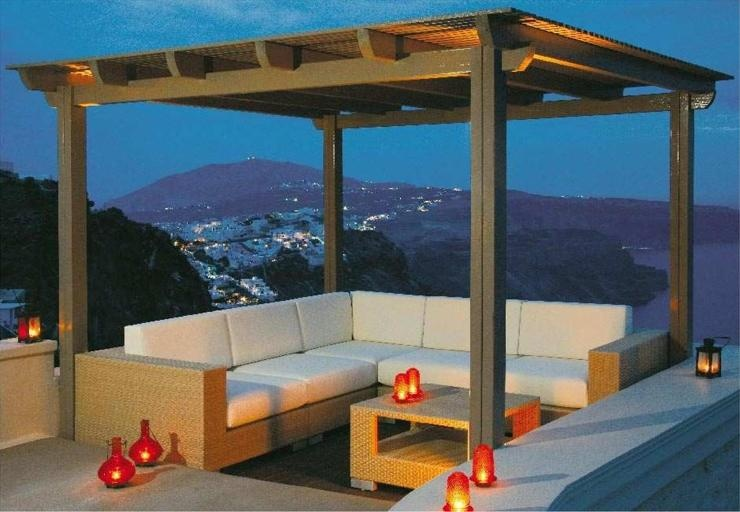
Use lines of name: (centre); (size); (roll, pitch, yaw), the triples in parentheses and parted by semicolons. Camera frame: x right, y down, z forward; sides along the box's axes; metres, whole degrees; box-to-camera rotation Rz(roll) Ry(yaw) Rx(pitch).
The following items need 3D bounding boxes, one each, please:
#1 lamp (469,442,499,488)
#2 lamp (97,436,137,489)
lamp: (0.773, 1.411, 5.327); (0.248, 0.223, 0.211); (3, -11, -14)
lamp: (-1.914, 1.569, 6.028); (0.317, 0.317, 0.299); (-4, -8, 27)
